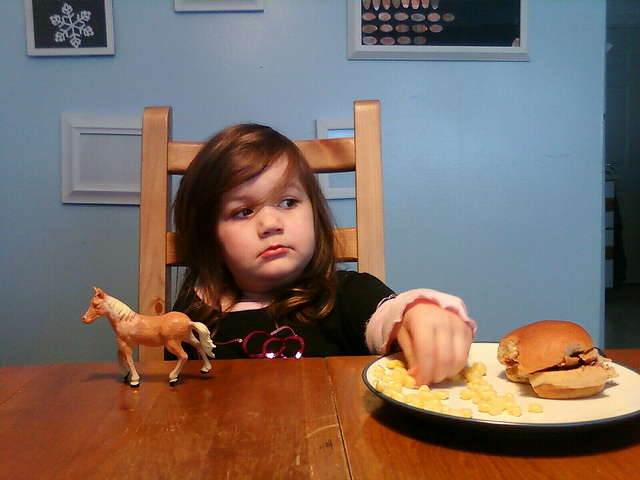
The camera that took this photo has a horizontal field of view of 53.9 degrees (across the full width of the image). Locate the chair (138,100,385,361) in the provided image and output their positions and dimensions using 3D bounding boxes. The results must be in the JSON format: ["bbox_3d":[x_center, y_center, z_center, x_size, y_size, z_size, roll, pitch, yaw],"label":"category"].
[{"bbox_3d":[-0.127,0.001,1.556,0.523,1.002,0.524,-1,-4,-3],"label":"chair"}]

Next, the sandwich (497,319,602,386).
[{"bbox_3d":[0.341,0.159,0.939,0.144,0.087,0.162,-1,6,23],"label":"sandwich"}]
